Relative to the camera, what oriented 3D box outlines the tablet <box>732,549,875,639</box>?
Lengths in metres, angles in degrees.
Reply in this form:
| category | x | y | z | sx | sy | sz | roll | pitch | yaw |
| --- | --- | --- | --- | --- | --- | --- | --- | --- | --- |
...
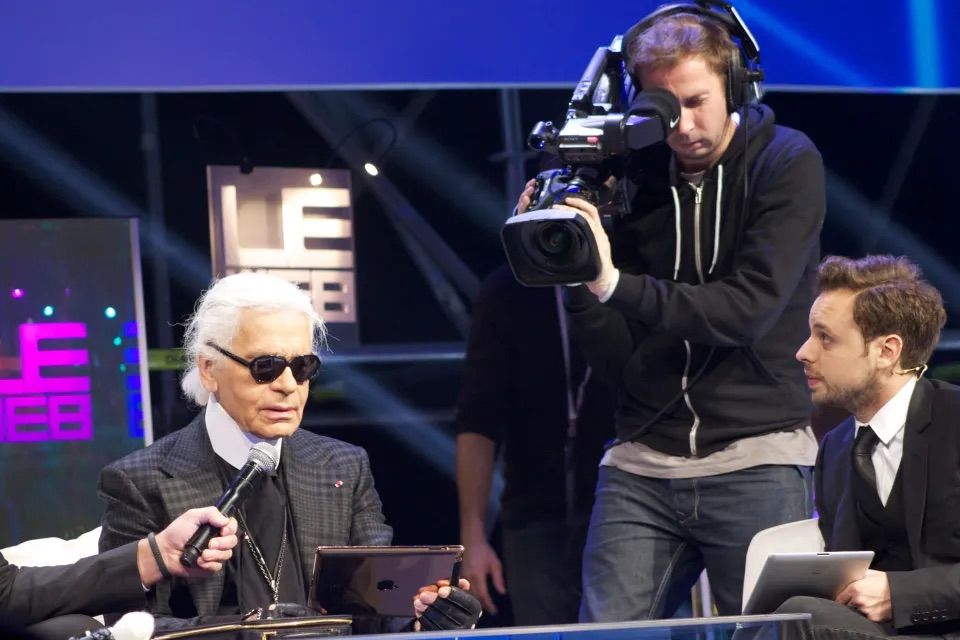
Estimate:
| category | x | y | z | sx | sy | sz | roll | pitch | yaw |
| --- | --- | --- | --- | --- | --- | --- | --- | --- | --- |
| tablet | 1.139 | 0.913 | 4.133 | 0.402 | 0.203 | 0.340 | 2 | -2 | -22 |

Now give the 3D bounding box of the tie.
| category | x | y | z | sx | sy | sz | roll | pitch | yaw |
| --- | --- | --- | --- | --- | --- | --- | --- | --- | --- |
| tie | 1.484 | 0.675 | 4.480 | 0.124 | 0.532 | 0.132 | -2 | -4 | 14 |
